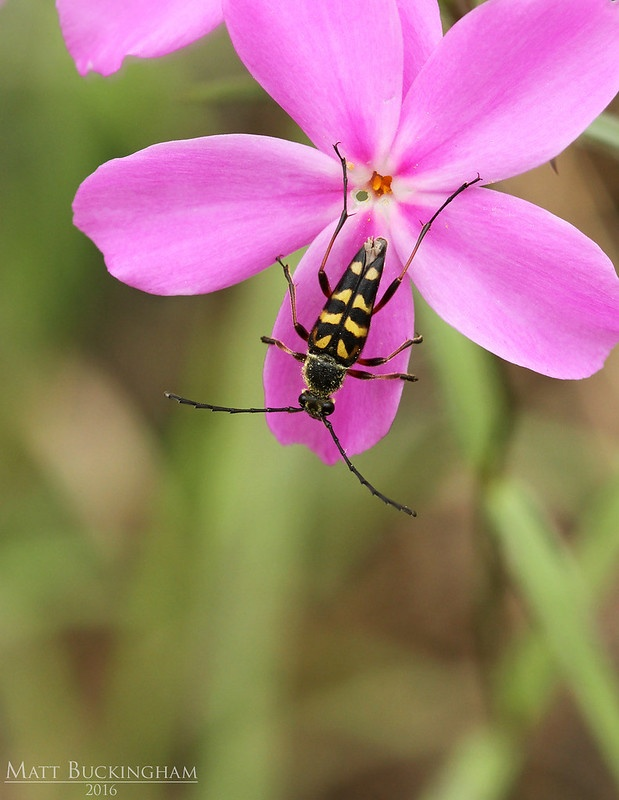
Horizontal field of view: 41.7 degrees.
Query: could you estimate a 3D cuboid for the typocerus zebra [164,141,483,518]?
[{"bbox_3d":[0.027,-0.067,0.652,0.261,0.342,0.047,1,63,-10],"label":"typocerus zebra"}]
